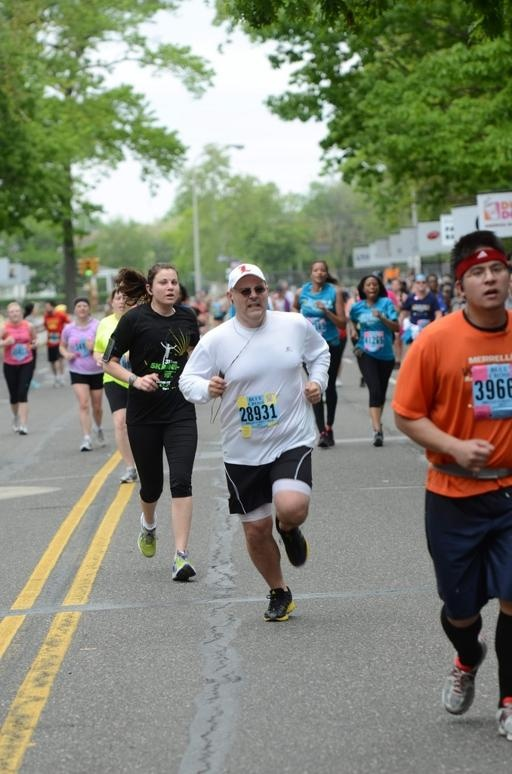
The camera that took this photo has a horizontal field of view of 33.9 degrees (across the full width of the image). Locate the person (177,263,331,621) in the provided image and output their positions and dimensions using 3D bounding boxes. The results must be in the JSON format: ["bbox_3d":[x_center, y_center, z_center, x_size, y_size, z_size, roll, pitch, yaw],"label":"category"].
[{"bbox_3d":[0.037,0.277,4.032,0.754,1.667,0.624,-3,0,-9],"label":"person"}]

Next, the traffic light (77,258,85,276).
[{"bbox_3d":[-7.412,-5.192,35.660,0.266,0.736,1.814,-4,1,-12],"label":"traffic light"}]

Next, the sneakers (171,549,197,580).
[{"bbox_3d":[-0.432,1.073,4.964,0.095,0.108,0.228,3,-14,-13],"label":"sneakers"}]

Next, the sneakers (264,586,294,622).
[{"bbox_3d":[0.110,1.071,4.121,0.085,0.102,0.222,-5,-3,10],"label":"sneakers"}]

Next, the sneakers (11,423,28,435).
[{"bbox_3d":[-3.799,0.664,13.519,0.136,0.156,0.383,1,8,-6],"label":"sneakers"}]

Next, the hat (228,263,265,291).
[{"bbox_3d":[-0.056,-0.531,3.971,0.165,0.127,0.289,-3,0,-1],"label":"hat"}]

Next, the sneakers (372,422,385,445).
[{"bbox_3d":[1.478,0.584,10.269,0.122,0.275,0.302,-3,0,7],"label":"sneakers"}]

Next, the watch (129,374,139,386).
[{"bbox_3d":[-0.766,-0.049,5.202,0.054,0.072,0.078,7,48,4],"label":"watch"}]

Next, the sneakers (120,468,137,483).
[{"bbox_3d":[-1.295,0.900,8.570,0.098,0.134,0.215,-2,-2,40],"label":"sneakers"}]

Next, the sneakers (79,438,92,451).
[{"bbox_3d":[-2.325,0.765,11.386,0.137,0.151,0.334,0,10,-1],"label":"sneakers"}]

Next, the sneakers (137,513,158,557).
[{"bbox_3d":[-0.713,0.985,5.463,0.121,0.323,0.145,-4,-6,-20],"label":"sneakers"}]

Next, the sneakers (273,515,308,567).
[{"bbox_3d":[0.179,0.742,3.962,0.109,0.272,0.123,-18,21,3],"label":"sneakers"}]

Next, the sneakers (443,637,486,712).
[{"bbox_3d":[0.656,0.970,2.763,0.097,0.262,0.112,19,5,16],"label":"sneakers"}]
